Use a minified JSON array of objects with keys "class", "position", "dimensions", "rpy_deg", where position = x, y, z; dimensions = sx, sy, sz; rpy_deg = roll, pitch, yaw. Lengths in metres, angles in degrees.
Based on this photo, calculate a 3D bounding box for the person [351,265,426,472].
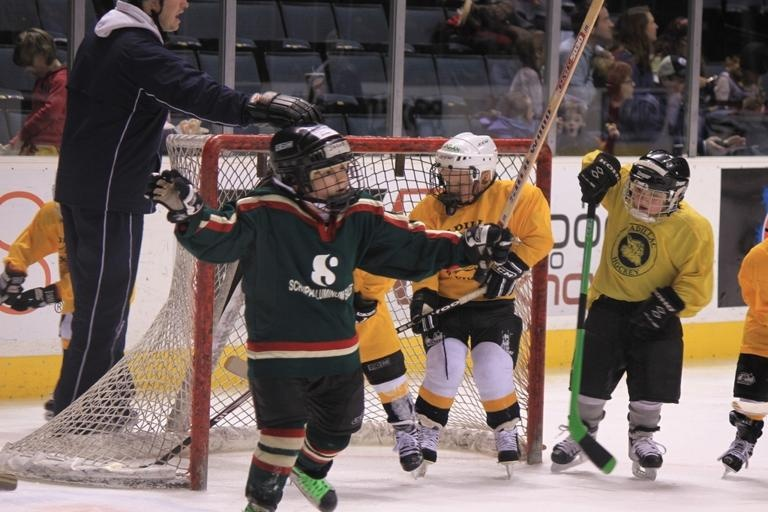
[{"class":"person","position":[0.021,0.614,5.154],"dimensions":[0.276,1.213,0.331],"rpy_deg":[-14,8,2]}]

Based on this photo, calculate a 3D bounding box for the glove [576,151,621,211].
[{"class":"glove","position":[1.180,-0.424,5.437],"dimensions":[0.277,0.215,0.304],"rpy_deg":[-43,-10,-2]}]

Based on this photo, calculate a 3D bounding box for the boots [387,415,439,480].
[{"class":"boots","position":[0.180,0.992,5.112],"dimensions":[0.149,0.415,0.182],"rpy_deg":[-4,-3,4]}]

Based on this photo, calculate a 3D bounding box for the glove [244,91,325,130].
[{"class":"glove","position":[-0.456,-0.662,4.454],"dimensions":[0.300,0.124,0.167],"rpy_deg":[10,35,-2]}]

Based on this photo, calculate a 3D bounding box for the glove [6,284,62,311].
[{"class":"glove","position":[-2.250,0.273,6.259],"dimensions":[0.297,0.073,0.155],"rpy_deg":[-13,1,-4]}]

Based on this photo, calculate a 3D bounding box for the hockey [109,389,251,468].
[{"class":"hockey","position":[-1.074,0.889,5.004],"dimensions":[0.929,0.063,0.091],"rpy_deg":[-36,-17,-33]}]

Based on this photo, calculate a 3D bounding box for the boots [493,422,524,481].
[{"class":"boots","position":[0.642,1.013,5.115],"dimensions":[0.115,0.142,0.330],"rpy_deg":[-16,8,8]}]

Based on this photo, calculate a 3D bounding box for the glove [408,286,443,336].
[{"class":"glove","position":[0.227,0.299,5.192],"dimensions":[0.091,0.217,0.165],"rpy_deg":[5,-17,-2]}]

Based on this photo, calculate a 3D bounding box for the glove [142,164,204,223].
[{"class":"glove","position":[-0.873,-0.268,4.149],"dimensions":[0.220,0.227,0.097],"rpy_deg":[-43,12,19]}]

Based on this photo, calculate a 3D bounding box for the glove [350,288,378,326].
[{"class":"glove","position":[-0.084,0.277,5.079],"dimensions":[0.123,0.147,0.159],"rpy_deg":[-1,10,4]}]

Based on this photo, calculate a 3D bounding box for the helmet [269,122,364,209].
[{"class":"helmet","position":[-0.291,-0.456,4.396],"dimensions":[0.404,0.356,0.337],"rpy_deg":[14,33,27]}]

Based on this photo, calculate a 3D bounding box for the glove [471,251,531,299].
[{"class":"glove","position":[0.631,0.132,4.997],"dimensions":[0.266,0.260,0.095],"rpy_deg":[-31,36,3]}]

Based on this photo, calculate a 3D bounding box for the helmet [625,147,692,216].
[{"class":"helmet","position":[1.492,-0.388,5.319],"dimensions":[0.386,0.342,0.298],"rpy_deg":[-23,35,-38]}]

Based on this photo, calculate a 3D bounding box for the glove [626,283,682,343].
[{"class":"glove","position":[1.469,0.289,5.209],"dimensions":[0.322,0.201,0.097],"rpy_deg":[-37,-21,7]}]

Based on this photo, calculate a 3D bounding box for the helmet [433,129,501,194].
[{"class":"helmet","position":[0.449,-0.510,5.183],"dimensions":[0.338,0.290,0.267],"rpy_deg":[7,-2,-28]}]

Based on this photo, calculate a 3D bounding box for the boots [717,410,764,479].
[{"class":"boots","position":[1.981,1.014,5.363],"dimensions":[0.192,0.268,0.239],"rpy_deg":[6,11,21]}]
